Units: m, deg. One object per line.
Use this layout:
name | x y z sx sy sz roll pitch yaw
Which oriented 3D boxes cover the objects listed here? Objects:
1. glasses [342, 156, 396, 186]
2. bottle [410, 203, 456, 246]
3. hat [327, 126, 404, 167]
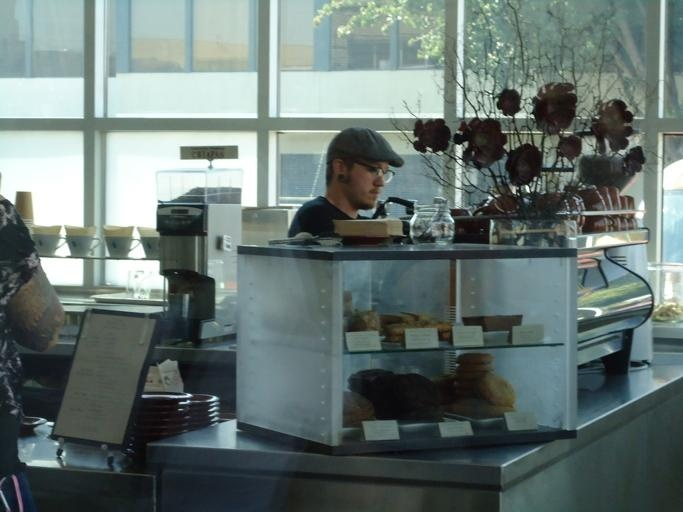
glasses | 0.143 -0.376 3.716 0.129 0.036 0.125 32 12 19
bottle | 0.294 -0.099 2.704 0.143 0.106 0.134 0 -1 0
hat | 0.103 -0.490 3.801 0.346 0.138 0.237 -1 -5 26
